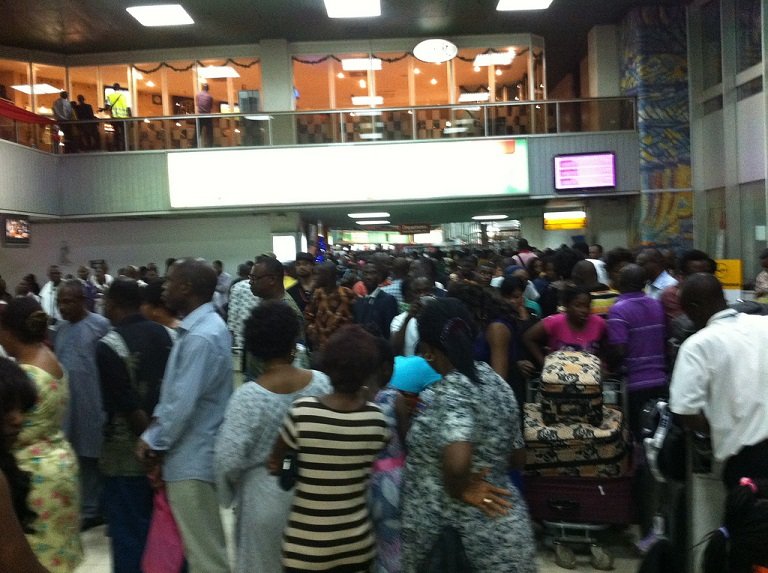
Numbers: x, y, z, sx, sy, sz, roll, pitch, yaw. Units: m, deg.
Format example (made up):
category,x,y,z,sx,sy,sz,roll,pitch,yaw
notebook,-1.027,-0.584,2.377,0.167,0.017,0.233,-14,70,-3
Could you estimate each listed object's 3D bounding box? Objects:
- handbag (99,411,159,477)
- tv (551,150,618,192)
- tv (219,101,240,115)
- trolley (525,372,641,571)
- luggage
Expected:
category,x,y,z,sx,sy,sz,roll,pitch,yaw
handbag,-2.001,1.214,6.542,0.376,0.449,0.147,0,-7,4
tv,4.042,-2.321,17.231,0.977,0.571,0.117,-1,-2,-1
tv,-3.701,-4.299,20.394,0.533,0.185,0.458,-3,2,6
trolley,1.681,1.725,7.575,1.234,1.194,1.469,-3,-7,14
luggage,1.662,1.365,7.649,1.317,1.446,1.676,-1,3,17
